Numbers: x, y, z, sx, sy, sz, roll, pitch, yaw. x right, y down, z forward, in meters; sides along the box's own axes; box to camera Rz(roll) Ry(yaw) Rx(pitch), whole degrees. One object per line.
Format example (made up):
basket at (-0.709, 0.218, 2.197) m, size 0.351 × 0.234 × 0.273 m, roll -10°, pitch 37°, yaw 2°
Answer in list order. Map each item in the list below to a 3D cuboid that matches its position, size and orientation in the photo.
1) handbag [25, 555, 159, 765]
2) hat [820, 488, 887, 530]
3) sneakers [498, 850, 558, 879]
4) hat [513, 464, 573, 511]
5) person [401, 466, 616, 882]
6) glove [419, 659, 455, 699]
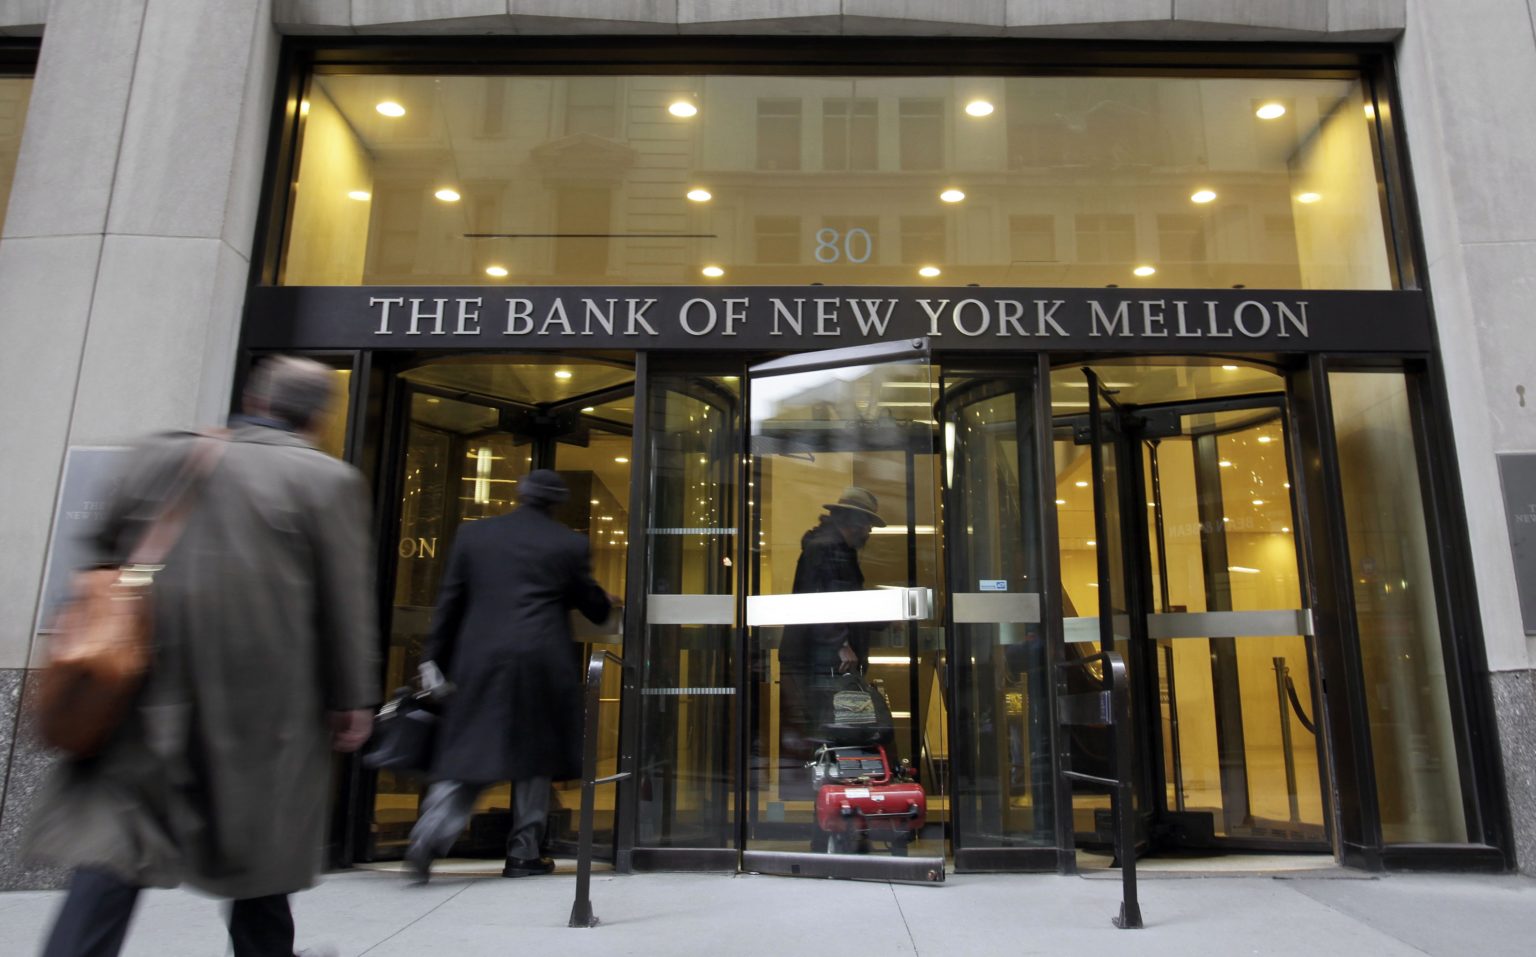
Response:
handbag at (-3.178, 0.851, 5.830) m, size 0.661 × 0.784 × 0.284 m, roll 4°, pitch -2°, yaw 18°
hat at (0.668, 0.183, 9.216) m, size 0.345 × 0.131 × 0.299 m, roll 25°, pitch -16°, yaw -27°
sneakers at (-1.725, 2.745, 8.895) m, size 0.158 × 0.154 × 0.429 m, roll -4°, pitch -8°, yaw 37°
hat at (-1.605, 0.056, 8.908) m, size 0.293 × 0.261 × 0.360 m, roll 6°, pitch 10°, yaw 1°
person at (-1.781, 1.261, 8.550) m, size 1.188 × 2.688 × 0.407 m, roll 2°, pitch -11°, yaw -14°
glove at (-2.273, 1.346, 8.534) m, size 0.192 × 0.242 × 0.226 m, roll 13°, pitch 8°, yaw 16°
